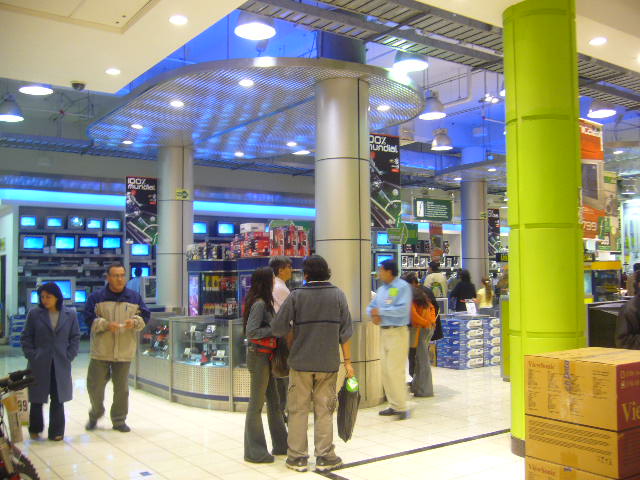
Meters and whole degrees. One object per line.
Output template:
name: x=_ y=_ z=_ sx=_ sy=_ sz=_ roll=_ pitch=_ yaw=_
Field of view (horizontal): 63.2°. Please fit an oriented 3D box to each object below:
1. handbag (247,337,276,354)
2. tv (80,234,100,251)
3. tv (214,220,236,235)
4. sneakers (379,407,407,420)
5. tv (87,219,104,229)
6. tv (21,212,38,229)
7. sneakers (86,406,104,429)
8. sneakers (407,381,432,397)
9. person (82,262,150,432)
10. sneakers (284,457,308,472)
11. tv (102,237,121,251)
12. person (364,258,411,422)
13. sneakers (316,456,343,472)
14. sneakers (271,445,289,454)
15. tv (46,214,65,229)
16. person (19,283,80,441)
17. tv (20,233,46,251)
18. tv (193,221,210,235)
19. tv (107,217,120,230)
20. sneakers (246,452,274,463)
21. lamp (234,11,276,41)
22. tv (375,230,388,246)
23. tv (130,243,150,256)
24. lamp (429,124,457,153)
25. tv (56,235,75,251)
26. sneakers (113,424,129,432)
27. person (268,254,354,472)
handbag: x=-0.569 y=1.040 z=5.159 sx=0.182 sy=0.090 sz=0.217 roll=9 pitch=-12 yaw=-33
tv: x=-6.878 y=0.098 z=15.529 sx=0.691 sy=0.515 sz=0.360 roll=3 pitch=-9 yaw=-33
tv: x=-3.248 y=-0.329 z=17.841 sx=0.838 sy=0.632 sz=0.443 roll=3 pitch=-9 yaw=-41
sneakers: x=0.963 y=2.250 z=6.766 sx=0.372 sy=0.122 sz=0.133 roll=2 pitch=-1 yaw=31
tv: x=-6.768 y=-0.449 z=15.621 sx=0.491 sy=0.367 sz=0.257 roll=3 pitch=-5 yaw=-35
tv: x=-8.219 y=-0.543 z=14.631 sx=0.496 sy=0.375 sz=0.335 roll=1 pitch=-3 yaw=-31
sneakers: x=-2.805 y=2.192 z=6.438 sx=0.150 sy=0.271 sz=0.416 roll=9 pitch=-2 yaw=-13
sneakers: x=1.526 y=2.269 z=7.961 sx=0.251 sy=0.203 sz=0.285 roll=5 pitch=-14 yaw=-33
person: x=-2.475 y=1.310 z=6.298 sx=0.743 sy=2.014 sz=0.577 roll=0 pitch=-3 yaw=-15
sneakers: x=-0.230 y=2.134 z=4.972 sx=0.097 sy=0.103 sz=0.232 roll=2 pitch=-1 yaw=-27
tv: x=-6.335 y=0.089 z=15.749 sx=0.621 sy=0.291 sz=0.394 roll=1 pitch=5 yaw=-15
person: x=0.918 y=1.279 z=6.730 sx=0.574 sy=2.023 sz=0.444 roll=-3 pitch=-4 yaw=29
sneakers: x=0.078 y=2.122 z=5.016 sx=0.292 sy=0.123 sz=0.110 roll=1 pitch=-2 yaw=-34
sneakers: x=-0.425 y=2.197 z=5.414 sx=0.192 sy=0.090 sz=0.103 roll=3 pitch=-2 yaw=-11
tv: x=-7.686 y=-0.465 z=15.137 sx=0.606 sy=0.453 sz=0.318 roll=2 pitch=-6 yaw=-37
person: x=-3.092 y=1.388 z=5.953 sx=0.573 sy=1.796 sz=0.318 roll=0 pitch=-3 yaw=-25
tv: x=-8.167 y=0.099 z=14.816 sx=0.755 sy=0.562 sz=0.395 roll=1 pitch=-8 yaw=-36
tv: x=-4.002 y=-0.382 z=17.375 sx=0.542 sy=0.404 sz=0.118 roll=2 pitch=-4 yaw=-43
tv: x=-6.307 y=-0.447 z=15.868 sx=0.516 sy=0.380 sz=0.284 roll=1 pitch=-4 yaw=-39
sneakers: x=-0.601 y=2.190 z=5.254 sx=0.285 sy=0.102 sz=0.096 roll=-1 pitch=-2 yaw=-3
lamp: x=-0.794 y=-2.579 z=6.290 sx=0.450 sy=0.193 sz=0.413 roll=2 pitch=-4 yaw=-44
tv: x=2.248 y=-0.059 z=19.364 sx=0.620 sy=0.469 sz=0.264 roll=2 pitch=-3 yaw=-16
tv: x=-5.599 y=0.324 z=16.145 sx=0.544 sy=0.328 sz=0.193 roll=0 pitch=-3 yaw=-22
lamp: x=2.927 y=-2.460 z=12.566 sx=0.410 sy=0.572 sz=0.554 roll=-2 pitch=-3 yaw=12
tv: x=-7.441 y=0.095 z=15.162 sx=0.669 sy=0.423 sz=0.348 roll=3 pitch=-10 yaw=-34
sneakers: x=-2.410 y=2.281 z=6.323 sx=0.225 sy=0.078 sz=0.082 roll=-4 pitch=-7 yaw=31
person: x=-0.078 y=1.173 z=5.022 sx=0.755 sy=2.047 sz=0.314 roll=-1 pitch=-3 yaw=2
